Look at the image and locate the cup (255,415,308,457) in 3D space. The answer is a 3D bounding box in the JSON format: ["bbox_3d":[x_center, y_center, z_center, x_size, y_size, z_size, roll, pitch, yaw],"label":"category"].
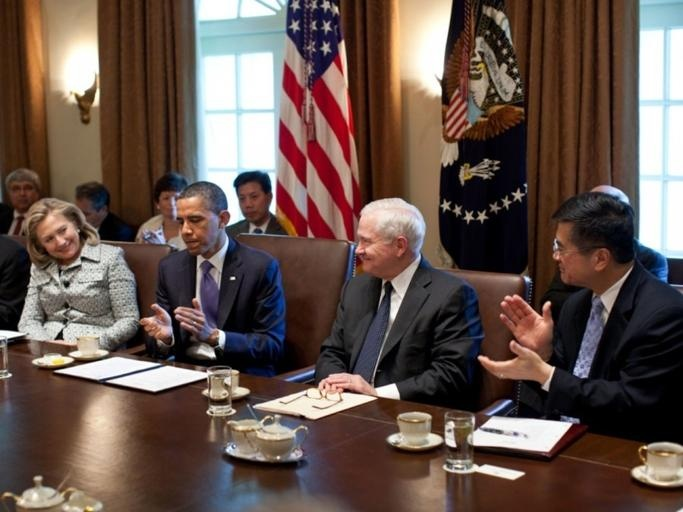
[{"bbox_3d":[-0.177,0.475,1.570,0.085,0.092,0.125,1,-1,-23],"label":"cup"}]

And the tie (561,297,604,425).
[{"bbox_3d":[0.950,0.316,2.224,0.116,0.639,0.095,-3,-27,44],"label":"tie"}]

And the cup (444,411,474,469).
[{"bbox_3d":[0.313,0.474,1.535,0.072,0.129,0.181,1,10,13],"label":"cup"}]

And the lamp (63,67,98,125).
[{"bbox_3d":[-2.678,-1.669,5.959,0.227,0.559,0.494,-5,-4,-41],"label":"lamp"}]

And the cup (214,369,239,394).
[{"bbox_3d":[-0.384,0.418,1.924,0.061,0.072,0.083,0,-6,-4],"label":"cup"}]

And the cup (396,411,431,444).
[{"bbox_3d":[0.197,0.470,1.604,0.070,0.063,0.078,2,-7,-24],"label":"cup"}]

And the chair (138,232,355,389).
[{"bbox_3d":[-0.375,0.211,2.949,0.491,0.773,0.578,-3,-9,33],"label":"chair"}]

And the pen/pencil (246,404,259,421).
[{"bbox_3d":[-0.283,0.499,1.878,0.019,0.006,0.125,-13,12,-15],"label":"pen/pencil"}]

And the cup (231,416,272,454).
[{"bbox_3d":[-0.247,0.498,1.583,0.068,0.069,0.093,-7,-15,35],"label":"cup"}]
